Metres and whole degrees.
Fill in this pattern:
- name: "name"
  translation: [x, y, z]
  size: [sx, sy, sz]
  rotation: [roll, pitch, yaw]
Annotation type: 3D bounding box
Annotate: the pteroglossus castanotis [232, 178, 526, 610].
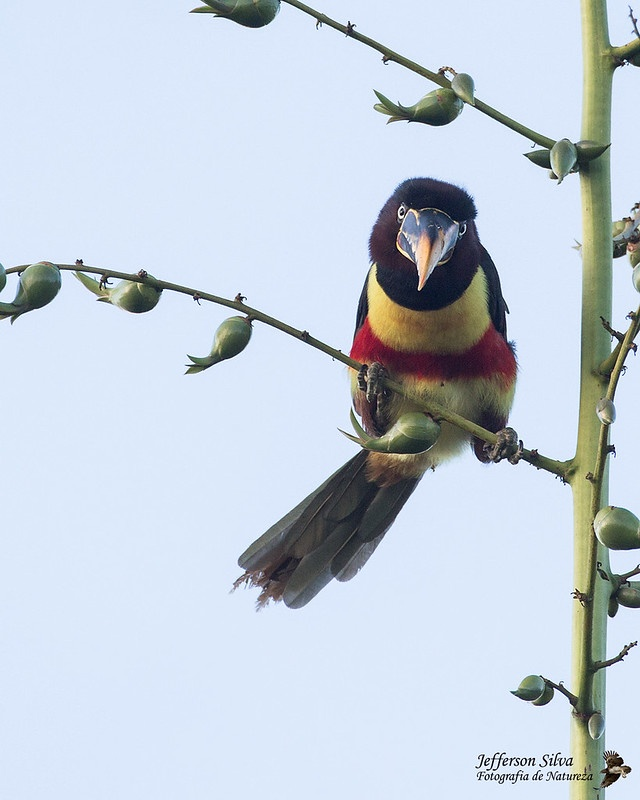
- name: "pteroglossus castanotis"
  translation: [0.274, -0.088, 5.905]
  size: [0.420, 0.889, 1.611]
  rotation: [3, -21, -7]
